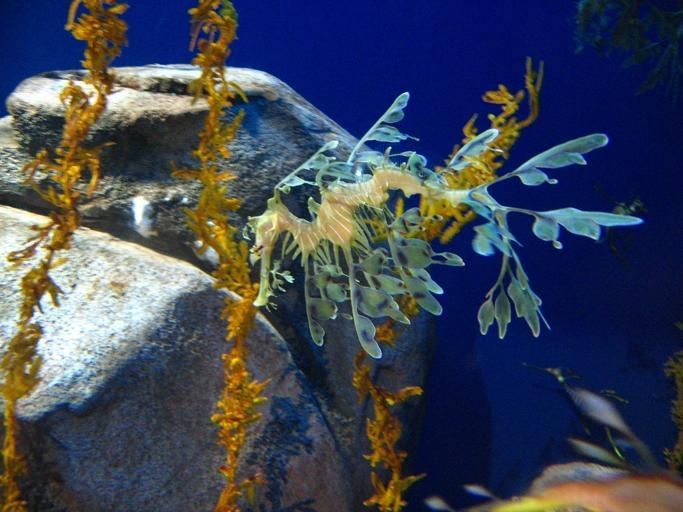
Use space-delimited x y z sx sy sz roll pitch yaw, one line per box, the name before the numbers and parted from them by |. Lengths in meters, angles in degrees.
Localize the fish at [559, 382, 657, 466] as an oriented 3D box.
fish | 0.670 0.412 3.086 0.040 0.070 0.332 23 16 -38
